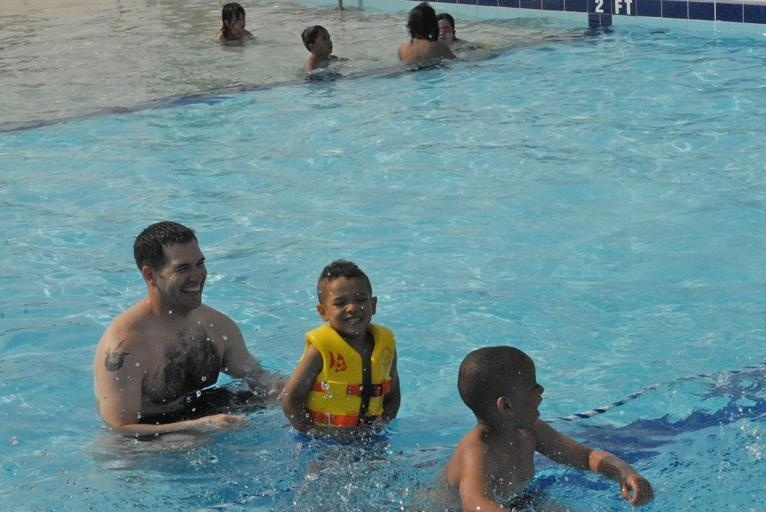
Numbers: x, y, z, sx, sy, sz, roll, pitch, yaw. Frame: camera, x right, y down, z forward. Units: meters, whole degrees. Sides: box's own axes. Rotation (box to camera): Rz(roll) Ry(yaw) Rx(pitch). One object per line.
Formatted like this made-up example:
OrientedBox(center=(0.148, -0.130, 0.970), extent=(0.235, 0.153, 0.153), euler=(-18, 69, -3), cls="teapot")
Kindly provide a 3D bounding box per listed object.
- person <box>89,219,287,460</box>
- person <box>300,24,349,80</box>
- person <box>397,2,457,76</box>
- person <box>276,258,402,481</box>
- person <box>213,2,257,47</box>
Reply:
OrientedBox(center=(-1.303, 0.512, 5.748), extent=(0.673, 1.326, 0.906), euler=(8, 18, 37), cls="person")
OrientedBox(center=(-0.903, -2.884, 12.489), extent=(0.485, 0.701, 0.690), euler=(1, 13, 16), cls="person")
OrientedBox(center=(0.554, -3.084, 12.361), extent=(0.721, 0.911, 0.584), euler=(8, 18, 39), cls="person")
OrientedBox(center=(-0.278, 0.612, 5.584), extent=(0.435, 1.161, 0.590), euler=(8, 18, 37), cls="person")
OrientedBox(center=(-2.429, -3.792, 14.473), extent=(0.618, 0.702, 0.603), euler=(-8, 14, -21), cls="person")
